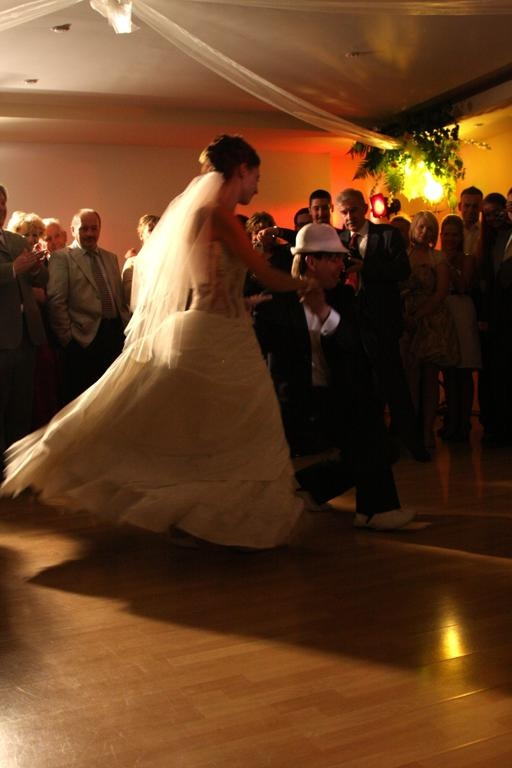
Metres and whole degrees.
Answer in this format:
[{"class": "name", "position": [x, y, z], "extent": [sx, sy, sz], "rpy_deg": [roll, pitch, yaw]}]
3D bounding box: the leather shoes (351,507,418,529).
[{"class": "leather shoes", "position": [0.538, 0.542, 2.551], "extent": [0.202, 0.071, 0.100], "rpy_deg": [-9, 0, 9]}]

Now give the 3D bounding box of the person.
[{"class": "person", "position": [-0.332, -0.136, 2.356], "extent": [1.076, 1.552, 0.371], "rpy_deg": [-3, 0, 3]}]
